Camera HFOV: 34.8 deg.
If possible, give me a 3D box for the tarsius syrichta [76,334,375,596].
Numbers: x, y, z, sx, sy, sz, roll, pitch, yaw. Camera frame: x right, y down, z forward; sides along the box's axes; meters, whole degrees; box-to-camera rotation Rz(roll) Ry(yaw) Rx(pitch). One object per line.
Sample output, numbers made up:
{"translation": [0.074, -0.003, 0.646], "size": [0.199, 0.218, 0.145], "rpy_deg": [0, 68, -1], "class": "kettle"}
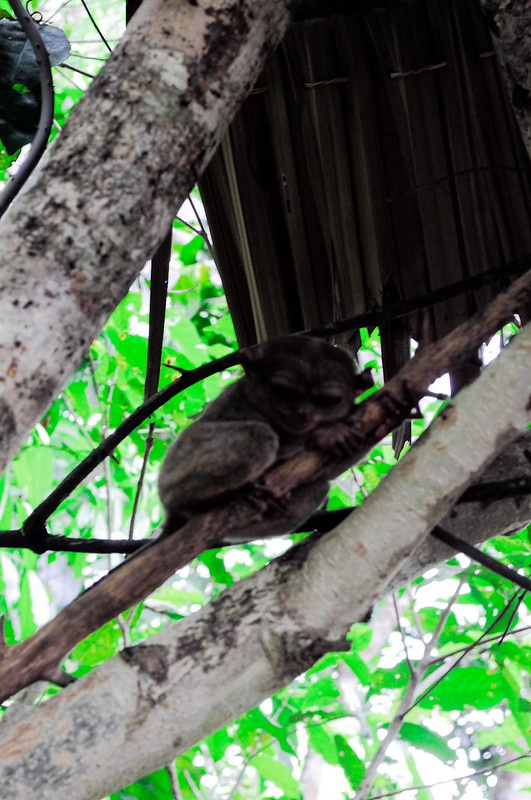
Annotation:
{"translation": [-0.168, 0.212, 2.785], "size": [1.017, 0.409, 0.447], "rpy_deg": [-32, -45, 11], "class": "tarsius syrichta"}
